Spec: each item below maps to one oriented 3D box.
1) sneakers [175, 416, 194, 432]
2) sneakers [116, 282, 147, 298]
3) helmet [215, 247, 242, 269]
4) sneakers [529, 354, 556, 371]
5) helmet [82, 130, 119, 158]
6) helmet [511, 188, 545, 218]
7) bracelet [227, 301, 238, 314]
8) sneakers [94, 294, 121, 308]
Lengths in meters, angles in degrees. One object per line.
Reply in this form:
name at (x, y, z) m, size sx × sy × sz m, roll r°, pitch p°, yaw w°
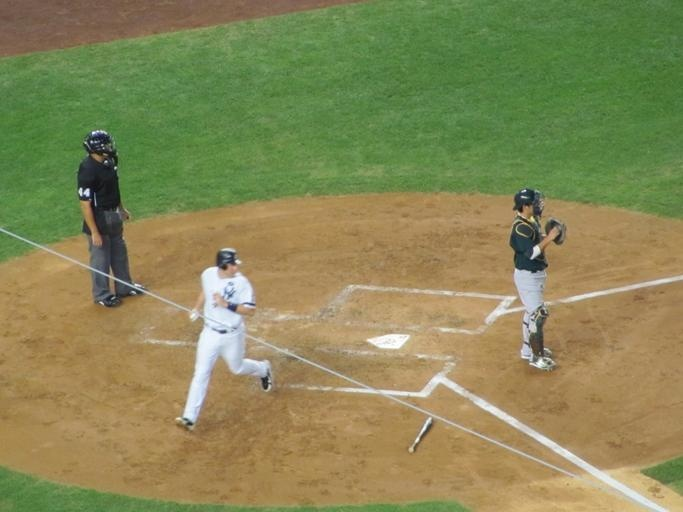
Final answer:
sneakers at (-2.716, 2.861, 23.152) m, size 0.325 × 0.212 × 0.124 m, roll 14°, pitch 60°, yaw 19°
sneakers at (-4.048, 0.665, 26.201) m, size 0.637 × 0.234 × 0.209 m, roll -6°, pitch 39°, yaw -6°
helmet at (-1.951, 0.039, 23.021) m, size 0.370 × 0.276 × 0.340 m, roll -18°, pitch 45°, yaw -8°
sneakers at (3.597, 1.911, 24.184) m, size 0.370 × 0.096 × 0.261 m, roll 12°, pitch 25°, yaw 32°
helmet at (-4.522, -2.143, 25.534) m, size 0.632 × 0.450 × 0.452 m, roll -7°, pitch 37°, yaw -6°
helmet at (3.347, -0.921, 24.188) m, size 0.507 × 0.584 × 0.421 m, roll 0°, pitch 46°, yaw 10°
bracelet at (-1.838, 0.881, 23.037) m, size 0.160 × 0.157 × 0.153 m, roll 22°, pitch 51°, yaw -3°
sneakers at (-4.459, 0.861, 25.946) m, size 0.444 × 0.164 × 0.221 m, roll 0°, pitch 22°, yaw 16°
